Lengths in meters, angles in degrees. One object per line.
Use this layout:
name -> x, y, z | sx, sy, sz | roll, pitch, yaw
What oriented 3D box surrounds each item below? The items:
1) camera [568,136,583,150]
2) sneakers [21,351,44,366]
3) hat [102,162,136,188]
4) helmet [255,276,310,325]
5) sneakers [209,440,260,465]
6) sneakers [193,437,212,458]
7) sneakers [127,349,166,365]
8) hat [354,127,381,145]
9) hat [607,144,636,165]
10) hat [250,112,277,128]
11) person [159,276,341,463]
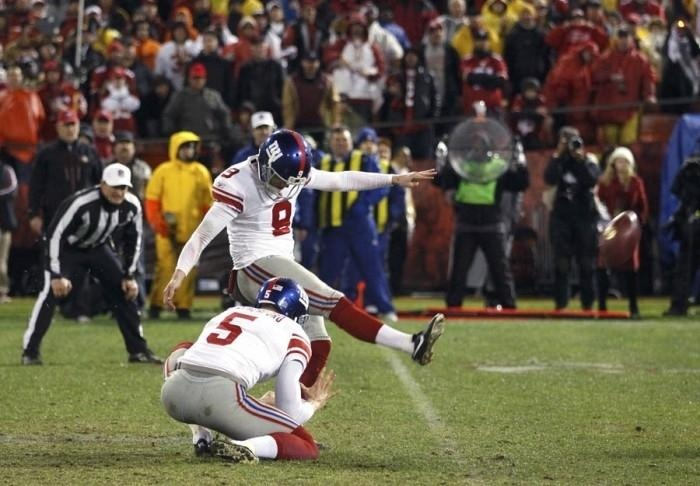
camera -> 2.138, -0.942, 13.847 | 0.079, 0.096, 0.151 | 11, -2, 22
sneakers -> -3.113, 1.122, 14.289 | 0.229, 0.211, 0.101 | 1, 7, -13
hat -> -2.287, -0.645, 14.204 | 0.279, 0.254, 0.375 | -3, 12, -11
helmet -> -0.555, 0.468, 12.403 | 0.390, 0.405, 0.524 | 10, -6, 28
sneakers -> -0.951, 1.676, 11.868 | 0.432, 0.153, 0.168 | 15, -2, 11
sneakers -> -1.219, 1.678, 12.030 | 0.152, 0.127, 0.138 | -1, -1, 20
sneakers -> -2.050, 1.151, 14.662 | 0.399, 0.159, 0.130 | 0, 0, 1
hat -> 0.194, -1.293, 17.636 | 0.295, 0.219, 0.205 | -10, 9, 10
hat -> 2.534, -0.816, 13.627 | 0.206, 0.151, 0.174 | -18, 11, -5
hat -> -0.986, -1.383, 16.661 | 0.252, 0.206, 0.382 | -2, 5, -8
person -> -0.753, 1.046, 12.415 | 1.177, 0.987, 1.491 | 12, 10, 14
